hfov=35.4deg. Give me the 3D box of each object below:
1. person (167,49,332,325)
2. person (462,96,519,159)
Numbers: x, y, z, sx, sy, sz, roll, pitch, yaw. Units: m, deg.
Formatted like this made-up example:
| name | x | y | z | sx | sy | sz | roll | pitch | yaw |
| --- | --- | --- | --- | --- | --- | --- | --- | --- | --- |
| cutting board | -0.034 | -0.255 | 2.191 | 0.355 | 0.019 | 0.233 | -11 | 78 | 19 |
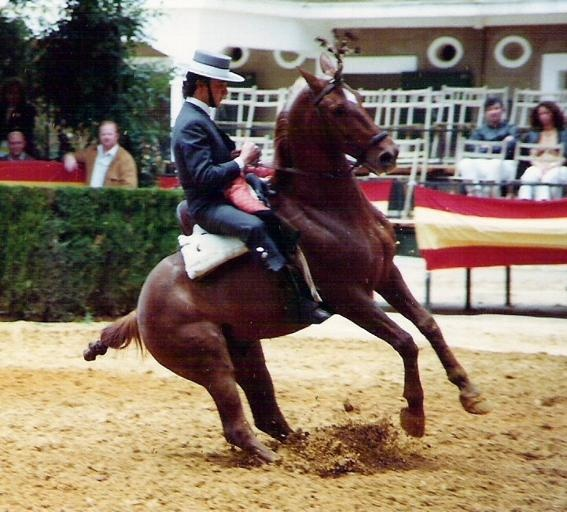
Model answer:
| name | x | y | z | sx | sy | sz | roll | pitch | yaw |
| --- | --- | --- | --- | --- | --- | --- | --- | --- | --- |
| person | -0.297 | -0.444 | 5.868 | 0.644 | 1.805 | 0.871 | -12 | 18 | -35 |
| person | 2.487 | -1.497 | 10.600 | 0.726 | 0.651 | 0.904 | 3 | 14 | 28 |
